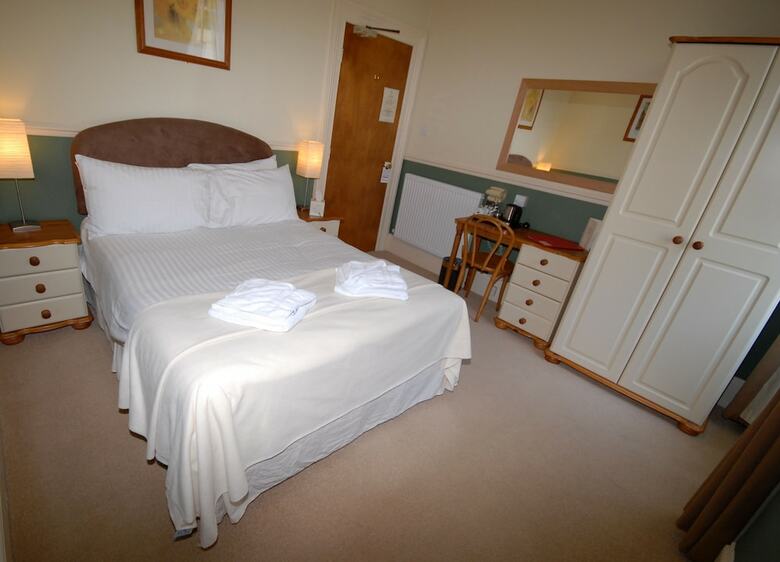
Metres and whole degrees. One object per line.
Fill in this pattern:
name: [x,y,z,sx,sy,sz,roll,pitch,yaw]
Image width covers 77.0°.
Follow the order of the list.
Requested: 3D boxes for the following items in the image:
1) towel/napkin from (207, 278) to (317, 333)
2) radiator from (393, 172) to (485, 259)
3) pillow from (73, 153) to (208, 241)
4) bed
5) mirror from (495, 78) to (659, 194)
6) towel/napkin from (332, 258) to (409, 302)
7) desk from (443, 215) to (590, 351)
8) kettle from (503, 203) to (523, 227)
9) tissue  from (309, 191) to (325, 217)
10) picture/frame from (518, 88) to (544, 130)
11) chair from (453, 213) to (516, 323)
towel/napkin: [-0.755,0.134,2.933,0.532,0.166,0.370,12,21,7]
radiator: [0.552,-0.732,5.237,0.839,0.682,0.034,24,21,29]
pillow: [-1.888,-0.602,3.649,0.637,0.428,0.146,-5,-2,-31]
bed: [-0.965,0.164,3.591,2.037,1.635,2.501,-12,29,-44]
mirror: [1.662,-1.281,4.261,1.079,0.836,0.025,23,25,33]
towel/napkin: [-0.119,0.003,3.315,0.322,0.108,0.335,-1,30,-12]
desk: [1.144,-0.040,4.613,1.032,0.940,0.513,25,30,24]
kettle: [1.123,-0.640,4.718,0.211,0.234,0.170,0,19,-11]
tissue : [-0.721,-0.761,4.828,0.140,0.204,0.265,0,36,-8]
picture/frame: [1.315,-1.619,4.552,0.040,0.426,0.217,-17,40,-41]
chair: [0.917,-0.159,4.686,0.557,1.050,0.557,1,29,-19]
